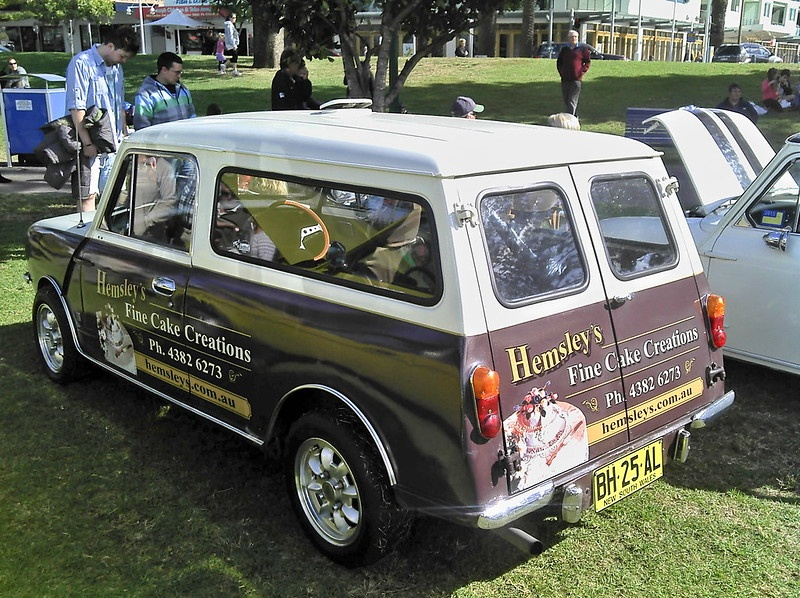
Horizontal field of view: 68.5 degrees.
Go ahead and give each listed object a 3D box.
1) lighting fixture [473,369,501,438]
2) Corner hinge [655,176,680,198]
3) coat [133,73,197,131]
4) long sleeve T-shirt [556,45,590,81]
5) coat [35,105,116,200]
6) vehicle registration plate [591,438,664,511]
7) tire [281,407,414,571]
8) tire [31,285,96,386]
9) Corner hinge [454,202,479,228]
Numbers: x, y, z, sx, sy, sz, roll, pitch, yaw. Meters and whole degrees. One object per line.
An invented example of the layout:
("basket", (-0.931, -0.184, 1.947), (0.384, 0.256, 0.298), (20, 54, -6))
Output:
("lighting fixture", (0.389, 0.476, 2.679), (0.132, 0.315, 0.075), (1, 18, 3))
("Corner hinge", (1.650, -0.678, 3.645), (0.124, 0.137, 0.039), (-10, -9, -16))
("coat", (-2.827, -2.321, 7.182), (0.406, 0.733, 0.831), (11, 28, 42))
("long sleeve T-shirt", (4.608, -6.248, 15.588), (0.780, 0.897, 0.411), (12, 22, 33))
("coat", (-3.844, -1.737, 7.056), (0.920, 1.016, 0.383), (-18, 17, -11))
("vehicle registration plate", (1.229, 0.941, 3.143), (0.537, 0.248, 0.010), (-14, 13, -27))
("tire", (-0.262, 1.014, 3.129), (0.665, 0.717, 0.249), (32, 29, 35))
("tire", (-2.815, 0.309, 4.947), (0.671, 0.740, 0.238), (14, 21, 43))
("Corner hinge", (0.309, -0.386, 2.743), (0.101, 0.109, 0.031), (-1, -1, -20))
